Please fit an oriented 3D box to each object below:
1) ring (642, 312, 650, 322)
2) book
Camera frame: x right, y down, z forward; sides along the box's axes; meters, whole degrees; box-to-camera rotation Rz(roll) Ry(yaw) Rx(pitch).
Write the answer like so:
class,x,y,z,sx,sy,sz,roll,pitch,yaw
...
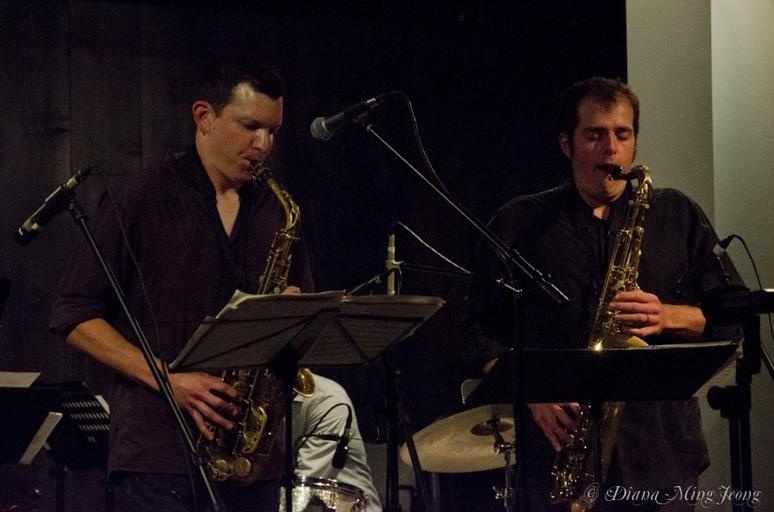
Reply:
class,x,y,z,sx,sy,sz,roll,pitch,yaw
ring,1.613,0.381,5.278,0.043,0.052,0.007,-1,1,-16
book,-0.470,0.419,4.757,0.898,0.282,0.727,3,-12,-29
